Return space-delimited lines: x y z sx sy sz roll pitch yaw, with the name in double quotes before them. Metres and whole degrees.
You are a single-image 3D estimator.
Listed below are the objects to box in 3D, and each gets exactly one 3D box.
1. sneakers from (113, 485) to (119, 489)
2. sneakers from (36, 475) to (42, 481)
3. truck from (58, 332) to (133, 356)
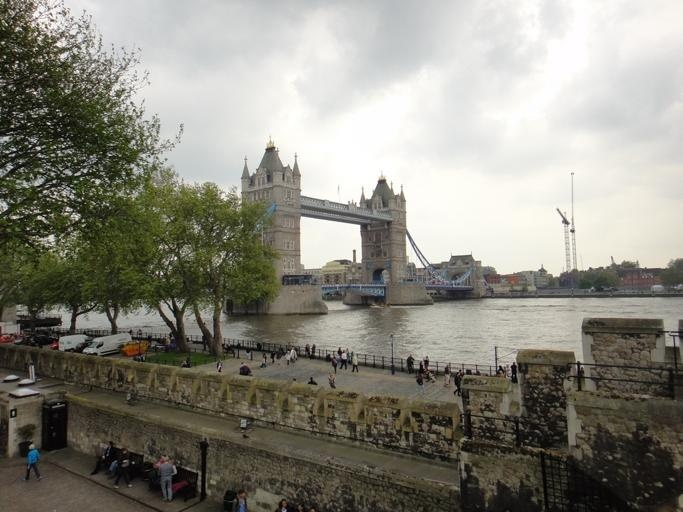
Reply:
"sneakers" -8.892 9.164 21.778 0.233 0.174 0.078 -2 -2 11
"sneakers" -12.178 9.012 22.275 0.143 0.148 0.230 1 -4 -29
"truck" -18.271 6.700 41.007 4.167 1.395 3.376 -1 -4 -2
